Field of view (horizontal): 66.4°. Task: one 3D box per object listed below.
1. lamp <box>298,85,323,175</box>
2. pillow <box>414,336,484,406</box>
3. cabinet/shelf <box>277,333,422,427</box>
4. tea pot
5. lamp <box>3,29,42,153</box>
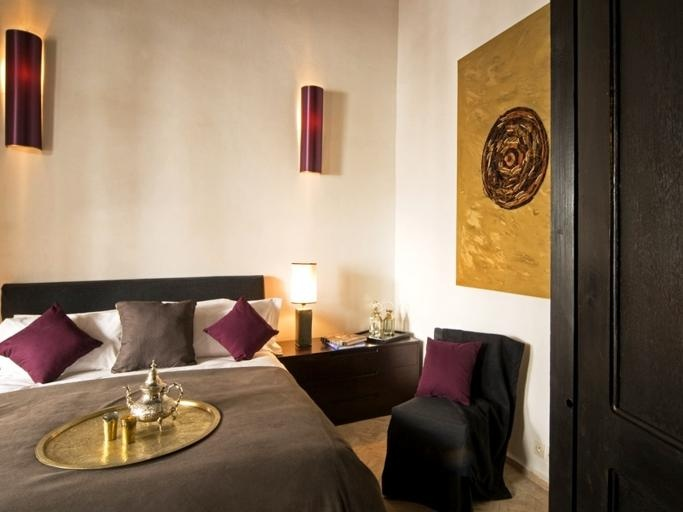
[{"bbox_3d":[-0.259,-1.086,4.472,0.194,0.730,0.116,-1,3,-12],"label":"lamp"},{"bbox_3d":[0.680,0.659,3.507,0.526,0.554,0.133,26,-11,-31],"label":"pillow"},{"bbox_3d":[0.125,1.033,4.380,1.033,0.549,0.387,-3,2,-28],"label":"cabinet/shelf"},{"bbox_3d":[-0.957,0.717,2.675,0.284,0.318,0.220,1,0,-3],"label":"tea pot"},{"bbox_3d":[-2.219,-1.170,3.655,0.231,0.806,0.115,-2,4,-35],"label":"lamp"}]
